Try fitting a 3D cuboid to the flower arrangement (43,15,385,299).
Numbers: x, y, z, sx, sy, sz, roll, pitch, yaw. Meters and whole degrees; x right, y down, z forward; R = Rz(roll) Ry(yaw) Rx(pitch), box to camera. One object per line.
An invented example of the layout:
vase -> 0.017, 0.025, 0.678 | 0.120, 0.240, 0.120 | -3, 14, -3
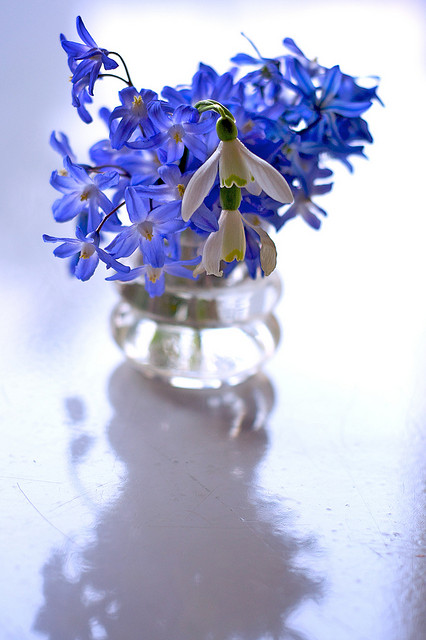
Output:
flower arrangement -> 0.030, -0.171, 0.593 | 0.202, 0.139, 0.160 | 22, -4, 5
